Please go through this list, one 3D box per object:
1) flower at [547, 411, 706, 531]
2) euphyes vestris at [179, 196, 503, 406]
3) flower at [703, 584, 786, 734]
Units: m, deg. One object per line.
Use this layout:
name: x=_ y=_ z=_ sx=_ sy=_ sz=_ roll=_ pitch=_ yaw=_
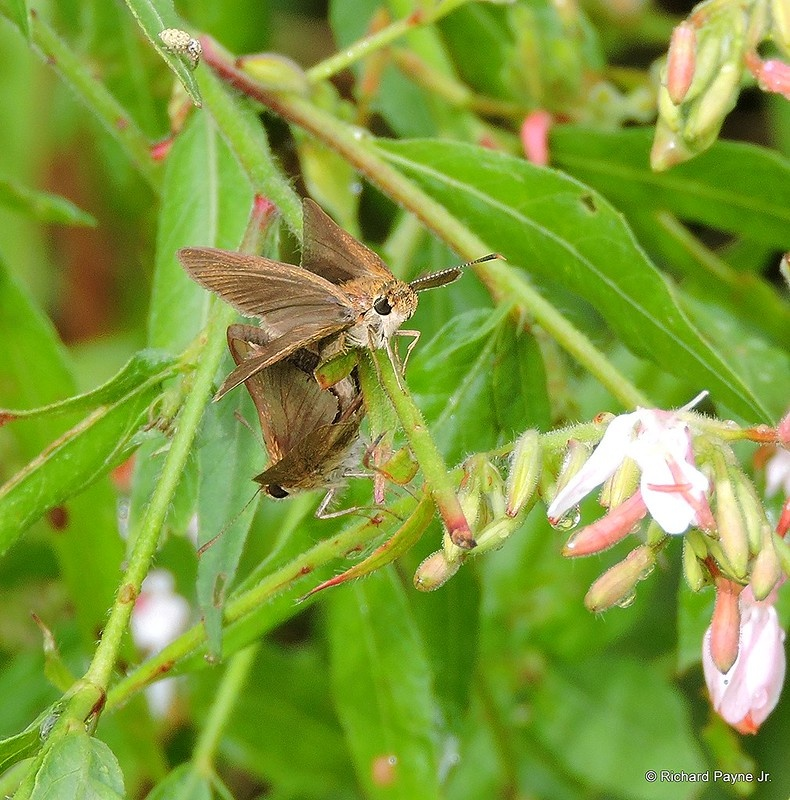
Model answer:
flower: x=0.199 y=0.053 z=0.877 sx=0.099 sy=0.066 sz=0.107 roll=14 pitch=21 yaw=-29
euphyes vestris: x=-0.068 y=-0.067 z=0.876 sx=0.208 sy=0.143 sz=0.237 roll=-18 pitch=1 yaw=-18
flower: x=0.323 y=0.248 z=0.955 sx=0.037 sy=0.079 sz=0.149 roll=-28 pitch=46 yaw=57
